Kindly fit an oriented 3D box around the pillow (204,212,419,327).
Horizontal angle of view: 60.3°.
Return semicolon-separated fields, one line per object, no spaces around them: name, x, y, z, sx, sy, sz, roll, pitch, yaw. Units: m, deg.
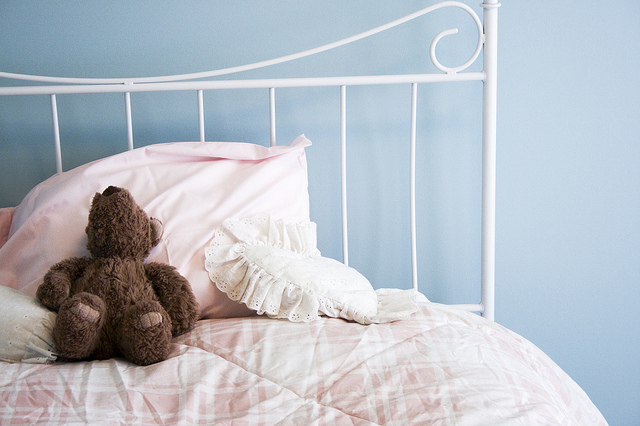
pillow;-0.057;0.193;1.663;0.438;0.121;0.399;19;15;-17

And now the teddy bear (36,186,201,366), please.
teddy bear;-0.590;0.179;1.580;0.413;0.484;0.315;4;-13;-15
